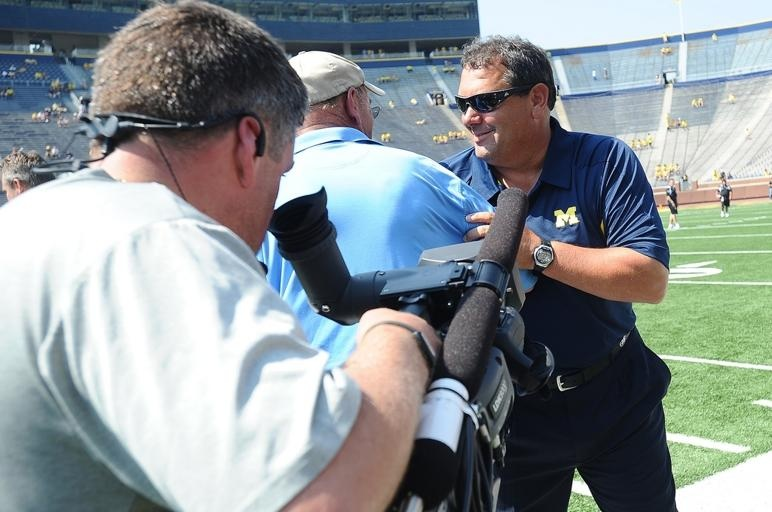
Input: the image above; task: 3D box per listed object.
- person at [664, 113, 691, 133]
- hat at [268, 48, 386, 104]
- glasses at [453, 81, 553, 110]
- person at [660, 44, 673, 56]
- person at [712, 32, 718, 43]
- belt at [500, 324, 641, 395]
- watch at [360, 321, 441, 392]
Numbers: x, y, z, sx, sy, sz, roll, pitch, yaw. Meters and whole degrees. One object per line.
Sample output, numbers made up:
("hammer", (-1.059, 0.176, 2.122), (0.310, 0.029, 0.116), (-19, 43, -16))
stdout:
("person", (18.373, -8.397, 37.298), (1.196, 0.284, 1.140), (10, 53, 28))
("hat", (-0.188, -0.607, 1.971), (0.350, 0.179, 0.230), (-11, 20, -34))
("glasses", (0.513, -0.735, 2.744), (0.228, 0.062, 0.215), (-6, 0, -19))
("person", (20.539, -15.113, 43.301), (0.881, 0.896, 0.270), (8, -17, 17))
("person", (23.436, -15.735, 42.285), (0.296, 0.853, 0.348), (-1, -12, 7))
("belt", (0.640, 0.361, 2.030), (0.369, 0.139, 0.275), (-26, 7, 9))
("watch", (0.027, 0.179, 1.087), (0.118, 0.037, 0.120), (33, -10, 16))
